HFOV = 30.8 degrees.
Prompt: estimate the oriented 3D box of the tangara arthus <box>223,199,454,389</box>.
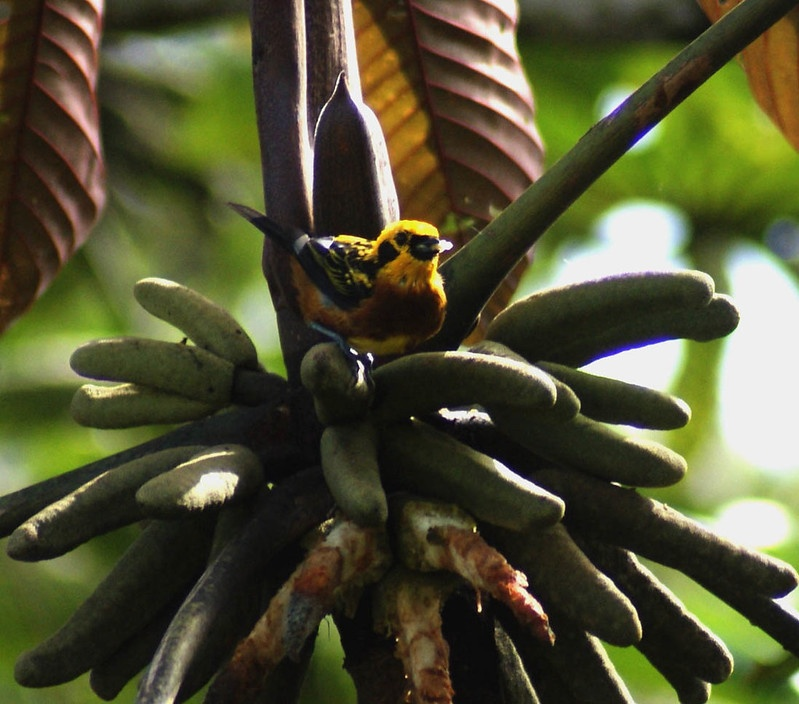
[{"bbox_3d":[-0.111,-0.145,2.298,0.186,0.396,0.237,-3,-64,-54],"label":"tangara arthus"}]
